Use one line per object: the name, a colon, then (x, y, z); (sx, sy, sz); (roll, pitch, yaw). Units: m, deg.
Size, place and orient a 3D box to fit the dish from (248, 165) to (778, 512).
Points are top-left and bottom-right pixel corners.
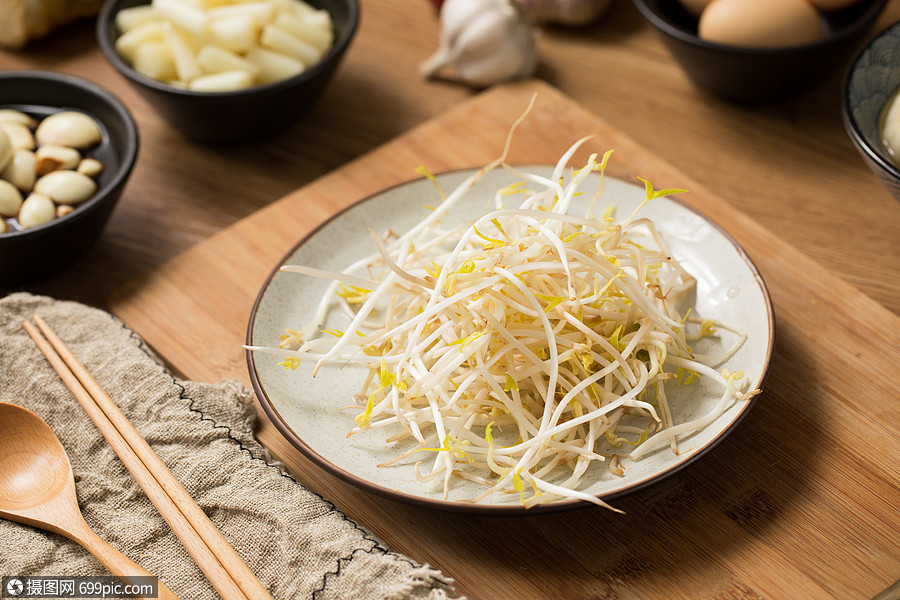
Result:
dish: (0.109, 0.113, 1.060); (0.565, 0.154, 0.510); (-13, 44, -2)
